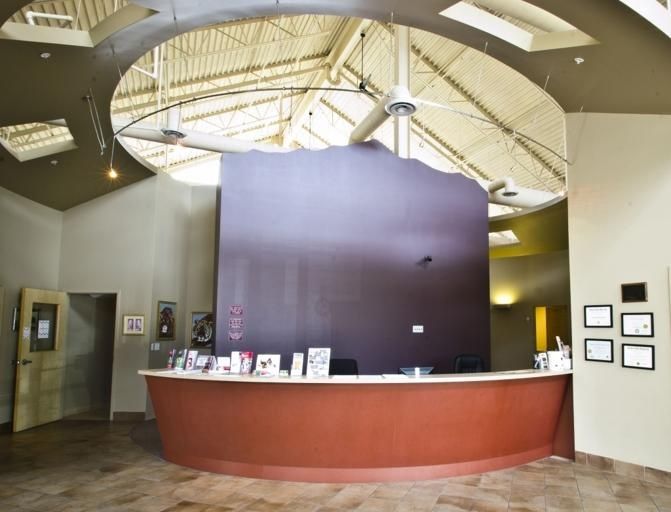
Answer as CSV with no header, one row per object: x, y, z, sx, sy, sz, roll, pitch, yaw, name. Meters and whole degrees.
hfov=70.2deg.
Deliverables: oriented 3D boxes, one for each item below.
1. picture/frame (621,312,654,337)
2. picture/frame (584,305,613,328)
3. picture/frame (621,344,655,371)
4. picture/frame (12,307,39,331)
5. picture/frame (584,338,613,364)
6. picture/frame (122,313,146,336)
3.920,0.874,6.097,0.029,0.338,0.312,12,-7,-28,picture/frame
3.625,0.815,6.475,0.030,0.329,0.303,9,-5,-27,picture/frame
3.902,1.283,6.054,0.024,0.378,0.336,1,-5,-27,picture/frame
-5.457,1.089,8.263,0.057,0.448,0.374,-9,-12,38,picture/frame
3.604,1.277,6.428,0.034,0.342,0.325,10,-9,-29,picture/frame
-3.940,1.320,9.174,0.359,0.420,0.039,2,0,-12,picture/frame
